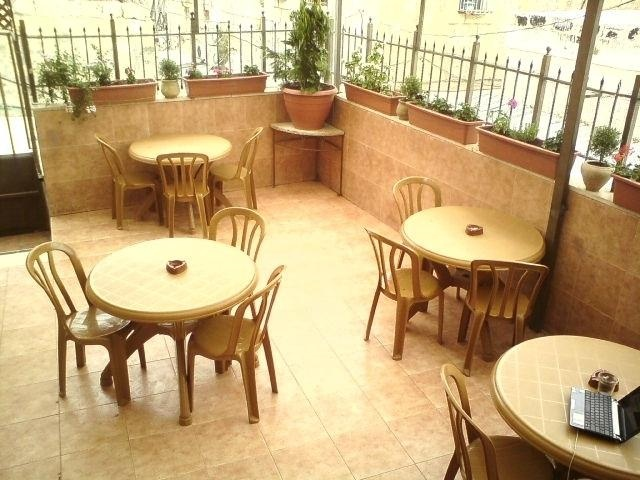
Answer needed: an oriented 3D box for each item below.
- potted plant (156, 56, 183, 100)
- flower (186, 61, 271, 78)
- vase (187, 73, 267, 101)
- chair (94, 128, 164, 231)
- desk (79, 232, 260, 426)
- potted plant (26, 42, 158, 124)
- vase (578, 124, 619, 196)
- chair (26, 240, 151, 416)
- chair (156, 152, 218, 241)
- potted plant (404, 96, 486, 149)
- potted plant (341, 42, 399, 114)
[{"bbox_3d":[-2.006,-2.157,6.637,0.277,0.493,0.243,-7,24,-23],"label":"potted plant"},{"bbox_3d":[-1.241,-2.343,6.902,1.173,0.272,0.368,-1,15,-9],"label":"flower"},{"bbox_3d":[-1.280,-2.129,6.851,1.136,0.316,0.173,-7,24,-23],"label":"vase"},{"bbox_3d":[-2.451,-0.790,6.301,0.732,1.160,0.621,-12,48,-25],"label":"chair"},{"bbox_3d":[-1.134,0.531,3.987,1.213,1.040,1.265,-8,36,-15],"label":"desk"},{"bbox_3d":[-2.819,-1.937,6.184,1.249,0.759,0.462,-12,26,-32],"label":"potted plant"},{"bbox_3d":[2.359,-0.686,4.139,0.240,0.554,0.255,22,32,33],"label":"vase"},{"bbox_3d":[-1.789,0.736,3.822,0.769,1.199,0.663,9,30,5],"label":"chair"},{"bbox_3d":[-1.593,-0.518,5.862,0.621,1.266,0.831,-2,50,-12],"label":"chair"},{"bbox_3d":[1.331,-1.277,5.408,0.227,0.312,0.922,-12,27,-33],"label":"potted plant"},{"bbox_3d":[0.680,-2.094,6.441,0.379,0.729,0.891,-20,45,-25],"label":"potted plant"}]
